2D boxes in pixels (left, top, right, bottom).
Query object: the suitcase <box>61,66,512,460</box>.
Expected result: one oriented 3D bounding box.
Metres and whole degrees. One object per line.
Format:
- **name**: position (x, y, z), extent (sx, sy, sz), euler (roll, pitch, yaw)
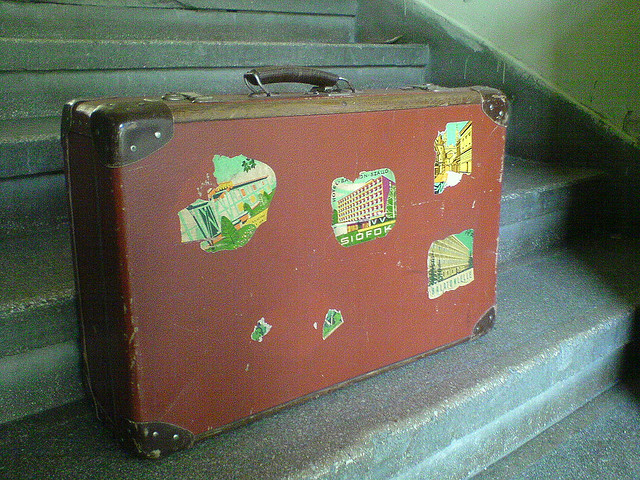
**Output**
- **suitcase**: position (-0.039, -0.030, 1.378), extent (1.006, 0.687, 0.348), euler (-11, 17, -37)
